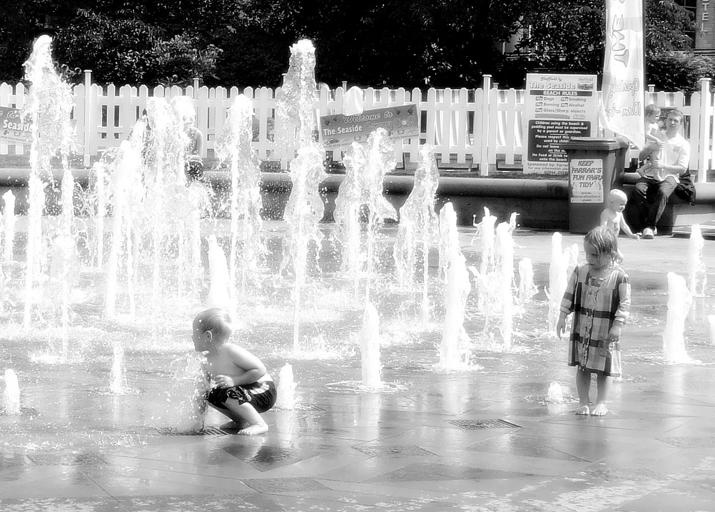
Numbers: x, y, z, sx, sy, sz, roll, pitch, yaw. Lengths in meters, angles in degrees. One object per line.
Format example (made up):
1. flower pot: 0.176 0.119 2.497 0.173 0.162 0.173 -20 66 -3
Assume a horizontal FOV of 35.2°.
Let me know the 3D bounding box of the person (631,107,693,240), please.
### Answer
1. person: 4.245 -1.137 15.761 0.864 1.788 0.772 2 3 25

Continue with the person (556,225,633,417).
1. person: 1.553 0.429 7.389 0.448 1.227 0.295 1 3 13

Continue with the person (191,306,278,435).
1. person: -0.614 0.725 6.899 0.684 0.952 0.679 2 -6 -15
